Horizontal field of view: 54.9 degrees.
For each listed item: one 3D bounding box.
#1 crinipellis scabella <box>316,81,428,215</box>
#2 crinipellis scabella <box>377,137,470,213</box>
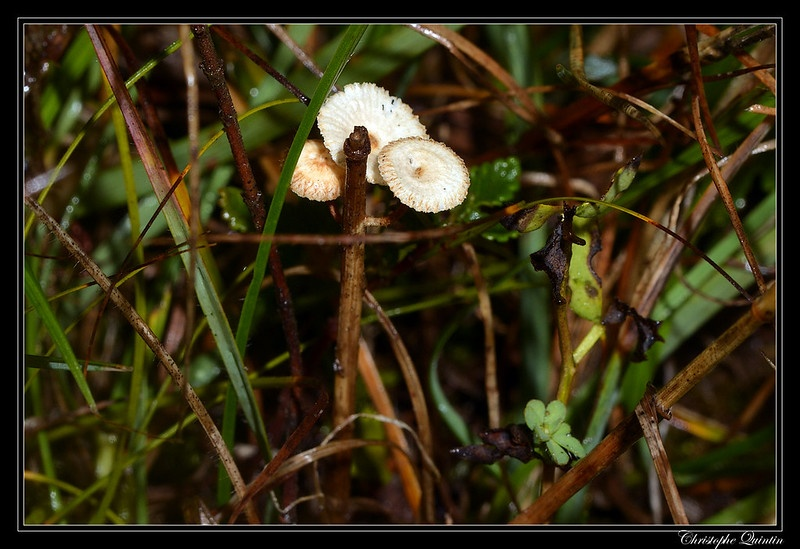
[{"bbox_3d":[-0.060,-0.284,1.643,0.240,0.077,0.246,10,-46,13],"label":"crinipellis scabella"},{"bbox_3d":[0.049,-0.201,1.595,0.190,0.120,0.113,4,-53,-16],"label":"crinipellis scabella"}]
